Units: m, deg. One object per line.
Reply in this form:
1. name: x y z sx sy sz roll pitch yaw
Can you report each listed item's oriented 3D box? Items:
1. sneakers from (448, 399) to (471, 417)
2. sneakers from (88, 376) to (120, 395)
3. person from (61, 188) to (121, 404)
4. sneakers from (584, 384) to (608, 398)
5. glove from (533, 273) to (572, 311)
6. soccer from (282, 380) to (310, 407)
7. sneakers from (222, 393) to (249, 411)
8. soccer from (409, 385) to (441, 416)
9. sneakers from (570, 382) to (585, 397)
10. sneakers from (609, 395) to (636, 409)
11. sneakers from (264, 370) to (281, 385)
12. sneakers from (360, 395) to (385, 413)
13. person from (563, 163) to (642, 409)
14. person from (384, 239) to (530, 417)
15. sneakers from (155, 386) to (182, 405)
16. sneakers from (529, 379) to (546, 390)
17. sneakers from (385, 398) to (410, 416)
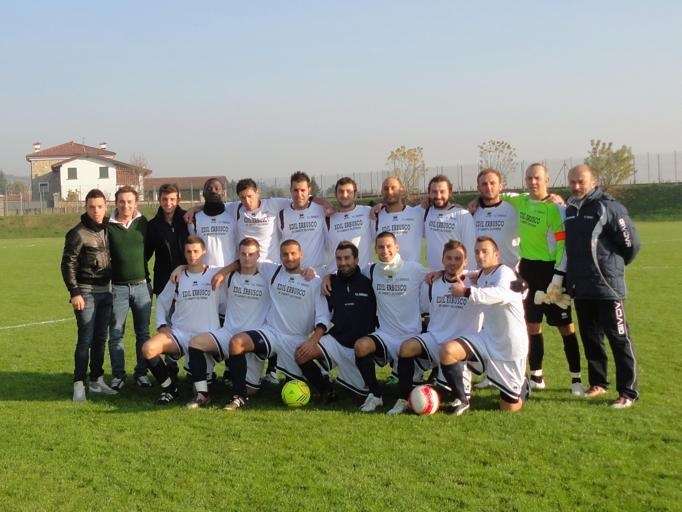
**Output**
1. sneakers: 1.456 1.919 8.403 0.135 0.131 0.300 -5 -7 35
2. sneakers: -3.218 1.808 9.289 0.515 0.289 0.179 2 0 -3
3. person: -3.395 0.521 9.130 0.555 2.797 0.899 2 11 17
4. sneakers: 3.359 1.788 8.870 0.350 0.153 0.127 0 0 -25
5. glove: 2.764 0.520 8.777 0.440 0.450 0.200 -33 -28 2
6. soccer: -0.589 1.818 8.839 0.369 0.317 0.273 -2 11 -6
7. sneakers: -1.329 1.907 8.759 0.184 0.167 0.405 8 14 41
8. soccer: 1.050 1.812 8.363 0.329 0.348 0.335 3 -14 -18
9. sneakers: 3.132 1.788 8.901 0.104 0.096 0.204 -4 -2 9
10. sneakers: 3.538 1.858 8.457 0.296 0.140 0.138 2 -9 -21
11. sneakers: -1.003 1.814 9.965 0.190 0.121 0.298 23 -3 -13
12. sneakers: 0.409 1.923 8.684 0.121 0.164 0.365 -6 -9 32
13. person: 3.316 0.365 8.598 1.032 3.020 0.749 5 12 30
14. person: 1.831 0.865 8.443 1.031 2.128 0.725 0 11 6
15. sneakers: -2.302 1.853 8.975 0.282 0.213 0.318 -4 11 -16
16. sneakers: 2.686 1.761 9.194 0.219 0.094 0.268 1 11 11
17. sneakers: 0.733 1.930 8.541 0.121 0.149 0.337 -29 -9 38
